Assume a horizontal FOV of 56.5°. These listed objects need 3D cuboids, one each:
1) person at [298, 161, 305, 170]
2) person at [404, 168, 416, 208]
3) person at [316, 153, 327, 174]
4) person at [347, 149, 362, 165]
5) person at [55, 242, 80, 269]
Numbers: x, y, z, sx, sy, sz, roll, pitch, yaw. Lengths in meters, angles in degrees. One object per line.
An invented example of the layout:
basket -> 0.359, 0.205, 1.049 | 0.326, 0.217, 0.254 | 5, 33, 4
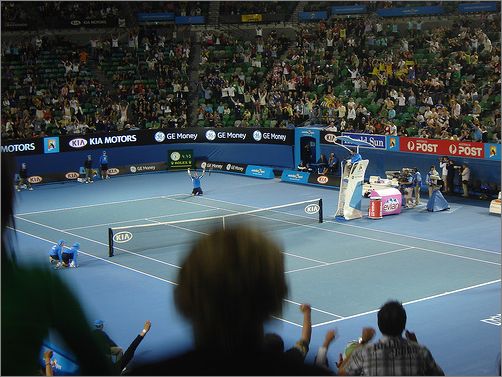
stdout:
person -> 4.226, -1.793, 38.987 | 0.749, 0.697, 0.489 | 4, 4, 43
person -> 10.196, 0.091, 29.803 | 0.605, 2.392, 1.262 | 2, 3, 19
person -> 5.801, -1.962, 38.021 | 0.757, 1.436, 0.540 | 1, 3, 9
person -> 6.434, -1.912, 28.868 | 0.679, 0.964, 2.225 | 1, 3, 11
person -> -8.208, 2.977, 20.845 | 0.819, 1.282, 1.069 | 13, 17, 39
